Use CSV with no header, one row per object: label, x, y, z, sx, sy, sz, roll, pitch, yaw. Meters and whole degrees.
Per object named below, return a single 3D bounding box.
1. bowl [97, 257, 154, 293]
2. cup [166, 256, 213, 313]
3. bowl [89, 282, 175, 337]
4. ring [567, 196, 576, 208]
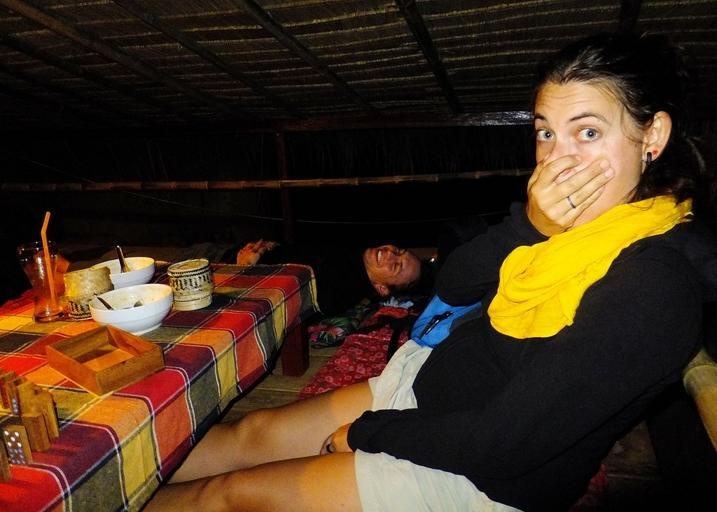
bowl,-1.165,0.087,2.375,0.231,0.079,0.200,3,14,12
cup,-0.742,0.129,2.271,0.276,0.200,0.235,0,15,4
bowl,-0.924,0.209,1.983,0.287,0.107,0.260,7,17,21
ring,0.686,-0.171,1.545,0.029,0.040,0.011,2,7,-1
